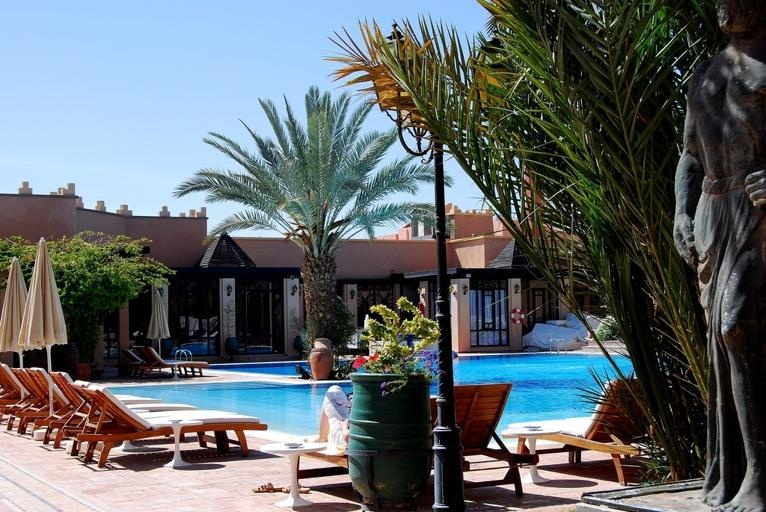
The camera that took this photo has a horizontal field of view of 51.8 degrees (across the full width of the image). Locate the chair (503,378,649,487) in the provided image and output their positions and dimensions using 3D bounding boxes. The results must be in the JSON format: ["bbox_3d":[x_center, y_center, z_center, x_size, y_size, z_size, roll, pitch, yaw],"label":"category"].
[{"bbox_3d":[2.437,2.081,9.371,1.129,1.209,1.940,14,-14,-35],"label":"chair"}]

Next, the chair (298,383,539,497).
[{"bbox_3d":[0.602,2.111,9.302,1.226,1.069,2.334,5,-4,-37],"label":"chair"}]

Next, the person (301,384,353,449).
[{"bbox_3d":[-0.572,1.978,9.280,0.528,0.764,0.756,15,-34,-29],"label":"person"}]

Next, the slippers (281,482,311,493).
[{"bbox_3d":[-0.949,2.560,8.665,0.349,0.154,0.133,2,-6,1],"label":"slippers"}]

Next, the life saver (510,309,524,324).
[{"bbox_3d":[5.510,2.479,32.404,0.198,0.649,0.614,2,0,-32],"label":"life saver"}]

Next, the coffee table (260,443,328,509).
[{"bbox_3d":[-0.962,2.276,8.388,0.571,0.518,0.601,0,-1,-2],"label":"coffee table"}]

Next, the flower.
[{"bbox_3d":[0.041,1.011,7.925,0.671,0.896,0.614,2,-7,-40],"label":"flower"}]

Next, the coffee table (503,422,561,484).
[{"bbox_3d":[1.805,2.379,9.378,0.639,0.561,0.668,-6,-13,3],"label":"coffee table"}]

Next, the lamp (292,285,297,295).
[{"bbox_3d":[-3.494,1.312,30.996,0.262,0.381,0.065,3,-9,-39],"label":"lamp"}]

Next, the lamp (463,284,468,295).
[{"bbox_3d":[3.240,1.340,31.485,0.268,0.465,0.278,-1,-2,19],"label":"lamp"}]
